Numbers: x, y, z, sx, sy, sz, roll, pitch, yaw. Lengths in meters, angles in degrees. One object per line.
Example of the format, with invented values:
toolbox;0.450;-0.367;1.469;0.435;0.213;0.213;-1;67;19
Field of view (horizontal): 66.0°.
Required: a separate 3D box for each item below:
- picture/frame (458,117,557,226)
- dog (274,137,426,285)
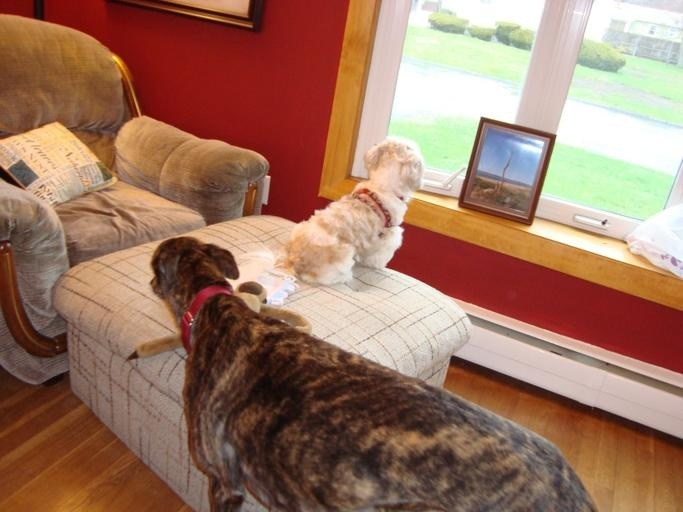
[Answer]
picture/frame;0.846;-0.412;2.617;0.447;0.531;0.039;16;21;8
dog;0.079;-0.168;2.229;0.760;0.535;0.269;-32;54;-33
